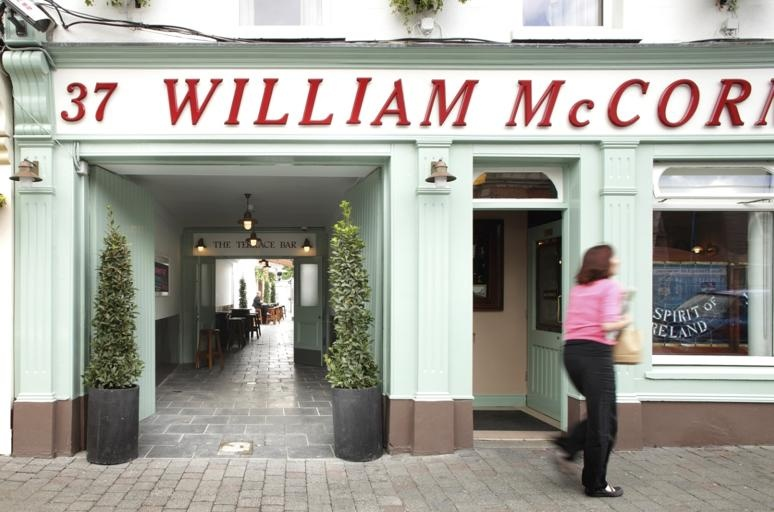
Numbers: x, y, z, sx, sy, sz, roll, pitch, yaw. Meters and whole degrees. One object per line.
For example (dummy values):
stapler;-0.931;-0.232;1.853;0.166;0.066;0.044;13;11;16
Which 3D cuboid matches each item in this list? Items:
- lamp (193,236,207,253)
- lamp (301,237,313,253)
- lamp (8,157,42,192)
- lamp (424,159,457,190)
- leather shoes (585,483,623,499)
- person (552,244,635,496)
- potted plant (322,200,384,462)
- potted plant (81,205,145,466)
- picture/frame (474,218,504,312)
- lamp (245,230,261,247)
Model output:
lamp;-4.284;-0.271;16.432;0.336;0.391;0.319;-1;-13;6
lamp;-1.822;-0.243;16.471;0.317;0.409;0.299;-1;-12;0
lamp;-4.900;-1.131;9.686;0.391;0.350;0.443;1;0;-1
lamp;0.729;-1.134;9.896;0.409;0.319;0.394;2;2;19
leather shoes;2.661;2.894;8.812;0.376;0.133;0.189;-1;-3;-2
person;2.534;1.408;8.808;0.765;3.075;0.449;1;8;13
potted plant;-0.486;1.153;9.773;0.759;3.186;0.588;6;11;44
potted plant;-3.710;1.198;9.625;0.759;3.094;0.600;-4;8;-24
picture/frame;1.684;0.143;12.020;0.485;1.542;0.313;-1;8;3
lamp;-2.948;-0.398;16.102;0.382;0.482;0.366;-2;4;-23
